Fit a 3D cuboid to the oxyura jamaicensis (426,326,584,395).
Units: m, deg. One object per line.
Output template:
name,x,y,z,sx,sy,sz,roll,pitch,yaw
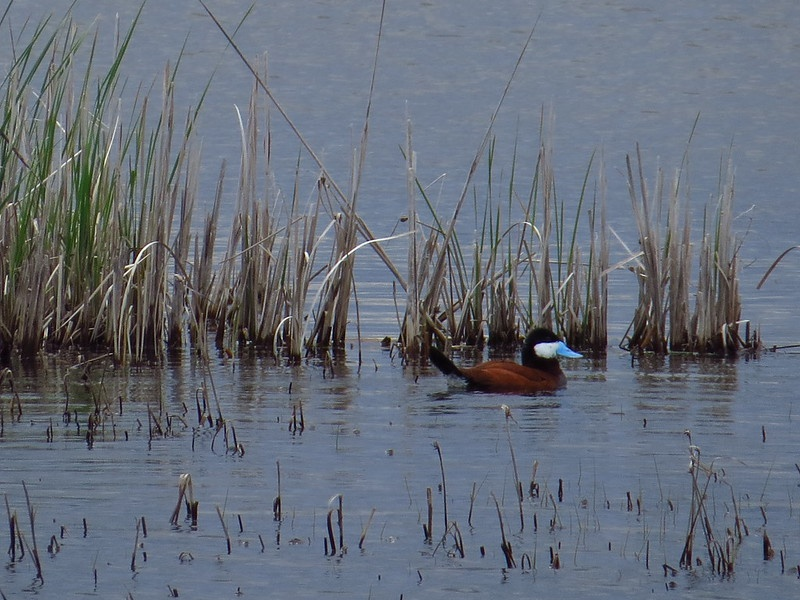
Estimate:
oxyura jamaicensis,0.966,0.590,13.264,1.398,0.563,0.451,-2,-2,-14
